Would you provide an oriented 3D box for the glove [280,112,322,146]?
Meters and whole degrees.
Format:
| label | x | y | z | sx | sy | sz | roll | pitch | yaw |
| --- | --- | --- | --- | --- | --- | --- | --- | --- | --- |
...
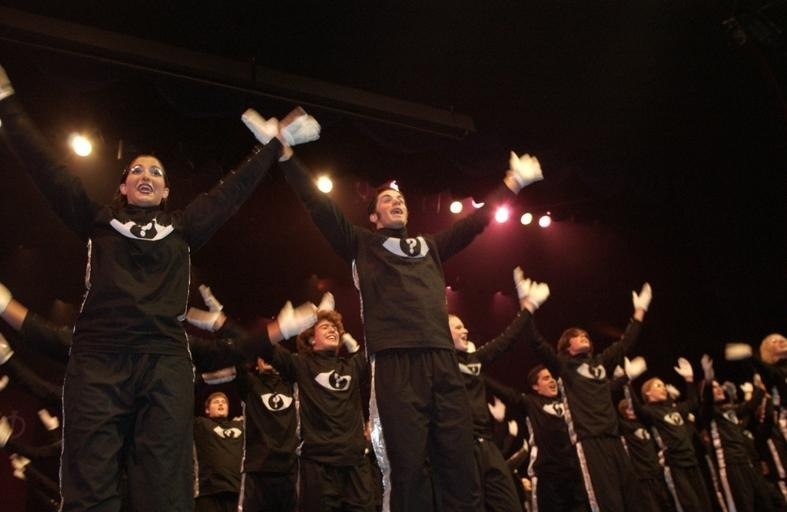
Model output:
| label | x | y | z | sx | sy | sz | roll | pitch | yaw |
| --- | --- | --- | --- | --- | --- | --- | --- | --- | --- |
| glove | -0.963 | -1.437 | 7.015 | 0.312 | 0.346 | 0.351 | -22 | -62 | -1 |

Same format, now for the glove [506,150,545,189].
| label | x | y | z | sx | sy | sz | roll | pitch | yaw |
| --- | --- | --- | --- | --- | --- | --- | --- | --- | --- |
| glove | 1.459 | -0.983 | 7.589 | 0.518 | 0.481 | 0.158 | -10 | 8 | -8 |

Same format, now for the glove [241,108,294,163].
| label | x | y | z | sx | sy | sz | roll | pitch | yaw |
| --- | --- | --- | --- | --- | --- | --- | --- | --- | --- |
| glove | -1.360 | -1.323 | 6.998 | 0.671 | 0.380 | 0.183 | 38 | -3 | 1 |
